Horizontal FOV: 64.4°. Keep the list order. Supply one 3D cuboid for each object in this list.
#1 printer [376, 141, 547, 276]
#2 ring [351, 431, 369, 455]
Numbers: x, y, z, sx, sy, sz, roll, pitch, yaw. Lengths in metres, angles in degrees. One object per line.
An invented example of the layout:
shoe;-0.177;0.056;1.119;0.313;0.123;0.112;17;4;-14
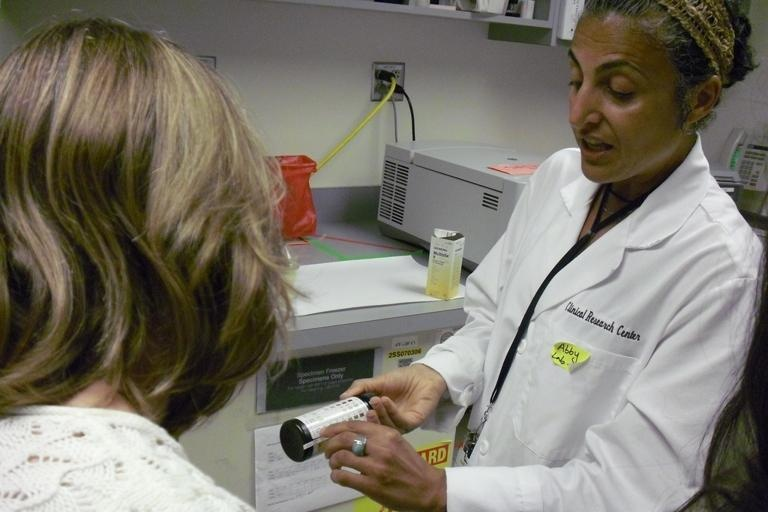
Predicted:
printer;0.177;-0.171;2.339;0.610;0.300;0.469;11;-3;-25
ring;-0.047;0.370;1.182;0.029;0.028;0.028;3;24;-1
